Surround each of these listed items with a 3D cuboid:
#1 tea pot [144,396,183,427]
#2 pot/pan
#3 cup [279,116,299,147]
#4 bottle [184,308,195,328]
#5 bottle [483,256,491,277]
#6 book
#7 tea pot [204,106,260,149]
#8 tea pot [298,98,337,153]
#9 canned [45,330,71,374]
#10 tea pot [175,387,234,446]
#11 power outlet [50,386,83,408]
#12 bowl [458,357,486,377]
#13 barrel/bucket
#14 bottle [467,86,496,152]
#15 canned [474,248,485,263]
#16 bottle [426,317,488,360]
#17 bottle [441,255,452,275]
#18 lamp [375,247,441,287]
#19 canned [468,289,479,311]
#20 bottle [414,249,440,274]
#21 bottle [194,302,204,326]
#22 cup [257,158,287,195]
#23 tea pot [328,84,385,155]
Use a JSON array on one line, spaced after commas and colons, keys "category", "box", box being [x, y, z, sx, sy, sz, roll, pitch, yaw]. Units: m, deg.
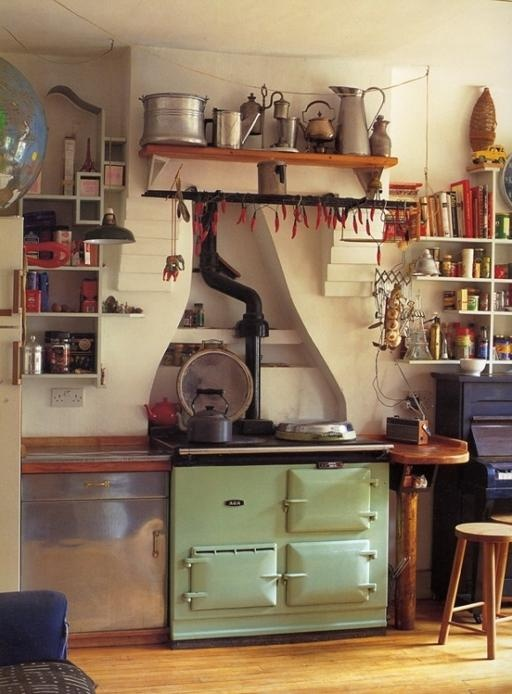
[{"category": "tea pot", "box": [-0.492, 0.330, 4.517, 0.202, 0.111, 0.127, 4, -6, -18]}, {"category": "pot/pan", "box": [-0.424, -1.138, 4.298, 0.336, 0.214, 0.330, 8, 12, 40]}, {"category": "cup", "box": [0.162, -1.104, 4.420, 0.099, 0.179, 0.181, 1, 6, 1]}, {"category": "bottle", "box": [-0.378, -0.165, 4.753, 0.051, 0.100, 0.051, 1, 6, 0]}, {"category": "bottle", "box": [1.294, -0.455, 4.810, 0.048, 0.115, 0.030, -2, 7, -30]}, {"category": "book", "box": [1.129, -0.757, 4.780, 0.375, 0.398, 0.461, 1, 2, 14]}, {"category": "tea pot", "box": [-0.127, -1.131, 4.350, 0.355, 0.241, 0.184, 1, 1, -12]}, {"category": "tea pot", "box": [0.313, -1.162, 4.473, 0.293, 0.245, 0.163, -3, 13, -8]}, {"category": "canned", "box": [-0.995, 0.021, 4.279, 0.113, 0.207, 0.148, 0, 6, -15]}, {"category": "tea pot", "box": [-0.213, 0.350, 4.304, 0.293, 0.265, 0.264, 2, -3, -23]}, {"category": "power outlet", "box": [-0.981, 0.251, 4.395, 0.138, 0.079, 0.018, 0, -2, -15]}, {"category": "bowl", "box": [1.189, 0.109, 4.723, 0.122, 0.069, 0.115, 1, -2, 0]}, {"category": "barrel/bucket", "box": [-0.407, -1.137, 4.297, 0.350, 0.212, 0.313, -1, 9, -17]}, {"category": "bottle", "box": [1.290, -1.308, 4.896, 0.144, 0.379, 0.138, 1, 6, 0]}, {"category": "canned", "box": [1.257, -0.528, 4.836, 0.068, 0.073, 0.066, -1, 4, -28]}, {"category": "bottle", "box": [1.120, -0.048, 4.813, 0.380, 0.230, 0.210, -1, 1, -7]}, {"category": "bottle", "box": [1.068, -0.458, 4.779, 0.072, 0.117, 0.077, 1, 6, 0]}, {"category": "lamp", "box": [0.840, -0.436, 4.738, 0.334, 0.126, 0.229, -4, 1, 22]}, {"category": "canned", "box": [1.222, -0.269, 4.815, 0.048, 0.113, 0.107, 6, 7, 36]}, {"category": "bottle", "box": [0.923, -0.452, 4.629, 0.161, 0.140, 0.148, 1, -7, 0]}, {"category": "bottle", "box": [-0.326, -0.185, 4.777, 0.056, 0.131, 0.073, 0, 6, -10]}, {"category": "cup", "box": [0.080, -0.871, 4.327, 0.167, 0.135, 0.160, -1, 3, 0]}, {"category": "tea pot", "box": [0.527, -1.203, 4.552, 0.255, 0.386, 0.335, 3, 6, 14]}]
